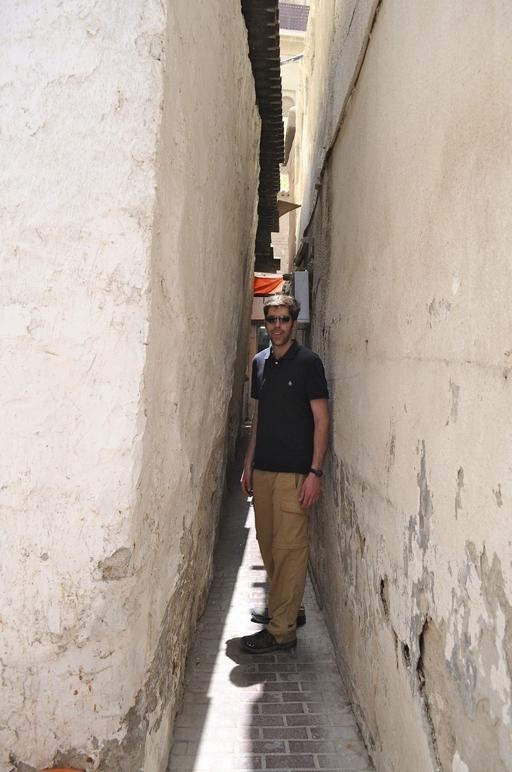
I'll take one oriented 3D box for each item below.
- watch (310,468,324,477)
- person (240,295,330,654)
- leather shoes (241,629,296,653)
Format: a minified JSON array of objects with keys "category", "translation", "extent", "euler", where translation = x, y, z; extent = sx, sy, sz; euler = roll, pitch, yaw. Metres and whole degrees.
[{"category":"watch","translation":[0.284,0.394,3.078],"extent":[0.052,0.045,0.085],"euler":[2,1,3]},{"category":"person","translation":[0.163,0.382,3.169],"extent":[0.346,1.597,0.507],"euler":[1,1,1]},{"category":"leather shoes","translation":[0.064,1.106,3.003],"extent":[0.216,0.142,0.105],"euler":[7,-3,-15]}]
